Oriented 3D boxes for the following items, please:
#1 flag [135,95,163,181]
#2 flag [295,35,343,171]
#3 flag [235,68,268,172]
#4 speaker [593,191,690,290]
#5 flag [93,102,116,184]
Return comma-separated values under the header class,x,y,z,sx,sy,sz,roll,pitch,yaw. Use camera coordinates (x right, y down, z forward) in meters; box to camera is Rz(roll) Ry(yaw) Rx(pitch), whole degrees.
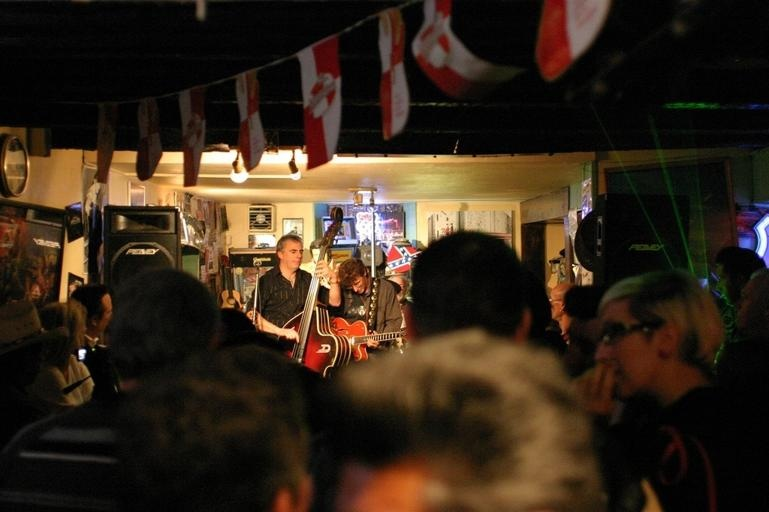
class,x,y,z,sx,sy,sz,roll,pitch,yaw
flag,-1.573,-0.791,4.323,0.202,0.553,0.055,-5,-7,25
flag,-0.336,-0.822,3.475,0.238,0.496,0.425,-6,3,-4
flag,-0.837,-0.828,3.998,0.161,0.464,0.440,-7,3,-11
speaker,1.613,-0.103,4.069,0.644,0.583,0.320,0,-3,-4
flag,-1.868,-0.774,4.359,0.156,0.607,0.081,5,10,3
